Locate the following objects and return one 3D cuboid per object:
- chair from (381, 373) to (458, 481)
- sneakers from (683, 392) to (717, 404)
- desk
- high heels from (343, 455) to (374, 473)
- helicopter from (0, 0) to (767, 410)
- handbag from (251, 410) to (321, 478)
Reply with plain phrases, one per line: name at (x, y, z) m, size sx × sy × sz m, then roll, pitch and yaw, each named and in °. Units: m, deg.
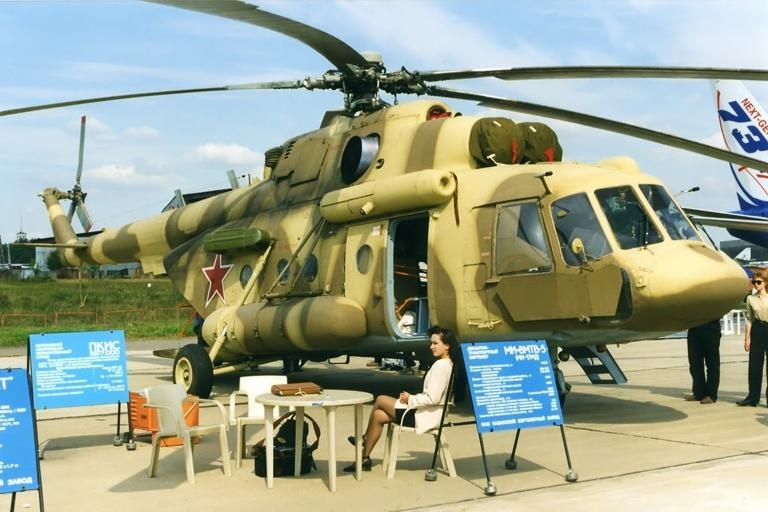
chair at (0.513, 2.673, 10.234) m, size 1.012 × 1.102 × 0.800 m, roll 5°, pitch -10°, yaw -12°
sneakers at (6.025, 2.710, 13.960) m, size 0.172 × 0.211 × 0.528 m, roll -4°, pitch -8°, yaw -41°
desk at (-0.928, 2.423, 9.832) m, size 1.482 × 1.195 × 1.055 m, roll -1°, pitch 1°, yaw -3°
high heels at (-0.351, 2.876, 10.108) m, size 0.393 × 0.146 × 0.181 m, roll 1°, pitch -6°, yaw 5°
helicopter at (0.353, -0.445, 13.965) m, size 9.497 × 3.186 × 8.793 m, roll 1°, pitch 4°, yaw 41°
handbag at (-1.346, 2.657, 10.124) m, size 1.137 × 0.903 × 0.697 m, roll 4°, pitch -13°, yaw -17°
